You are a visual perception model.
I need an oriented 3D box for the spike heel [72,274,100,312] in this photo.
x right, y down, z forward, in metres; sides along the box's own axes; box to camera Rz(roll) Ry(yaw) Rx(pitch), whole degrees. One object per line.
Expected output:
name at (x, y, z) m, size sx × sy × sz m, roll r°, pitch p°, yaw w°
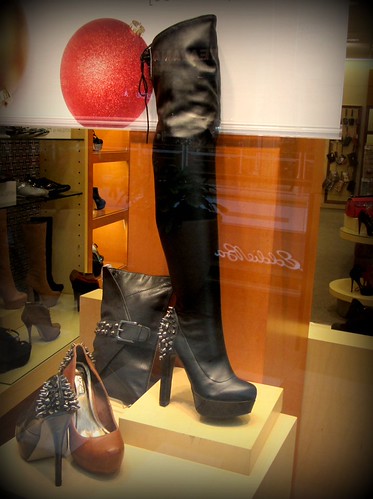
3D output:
spike heel at (-0.227, 0.096, 0.808) m, size 0.061 × 0.080 × 0.064 m, roll -3°, pitch 12°, yaw -22°

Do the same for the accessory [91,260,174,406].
accessory at (-0.105, 0.173, 0.820) m, size 0.181 × 0.286 × 0.100 m, roll 8°, pitch 2°, yaw 23°

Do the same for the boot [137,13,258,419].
boot at (0.024, -0.041, 0.626) m, size 0.108 × 0.691 × 0.225 m, roll -8°, pitch 14°, yaw -39°

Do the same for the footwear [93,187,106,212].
footwear at (-0.177, -0.101, 0.727) m, size 0.016 × 0.048 × 0.019 m, roll -19°, pitch 46°, yaw -20°

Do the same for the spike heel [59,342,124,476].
spike heel at (-0.193, 0.304, 0.698) m, size 0.089 × 0.088 × 0.284 m, roll 11°, pitch 16°, yaw -32°

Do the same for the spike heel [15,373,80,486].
spike heel at (-0.276, 0.335, 0.680) m, size 0.141 × 0.203 × 0.053 m, roll 5°, pitch 11°, yaw 21°

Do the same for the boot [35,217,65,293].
boot at (-0.329, 0.019, 0.799) m, size 0.069 × 0.164 × 0.035 m, roll -4°, pitch -5°, yaw 0°

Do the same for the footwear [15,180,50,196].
footwear at (-0.320, -0.126, 0.727) m, size 0.084 × 0.035 × 0.032 m, roll 5°, pitch 11°, yaw 28°

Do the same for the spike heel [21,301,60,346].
spike heel at (-0.339, 0.168, 0.834) m, size 0.087 × 0.097 × 0.041 m, roll -4°, pitch 8°, yaw -33°

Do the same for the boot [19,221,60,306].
boot at (-0.321, 0.038, 0.786) m, size 0.069 × 0.200 × 0.032 m, roll -5°, pitch 12°, yaw -26°
